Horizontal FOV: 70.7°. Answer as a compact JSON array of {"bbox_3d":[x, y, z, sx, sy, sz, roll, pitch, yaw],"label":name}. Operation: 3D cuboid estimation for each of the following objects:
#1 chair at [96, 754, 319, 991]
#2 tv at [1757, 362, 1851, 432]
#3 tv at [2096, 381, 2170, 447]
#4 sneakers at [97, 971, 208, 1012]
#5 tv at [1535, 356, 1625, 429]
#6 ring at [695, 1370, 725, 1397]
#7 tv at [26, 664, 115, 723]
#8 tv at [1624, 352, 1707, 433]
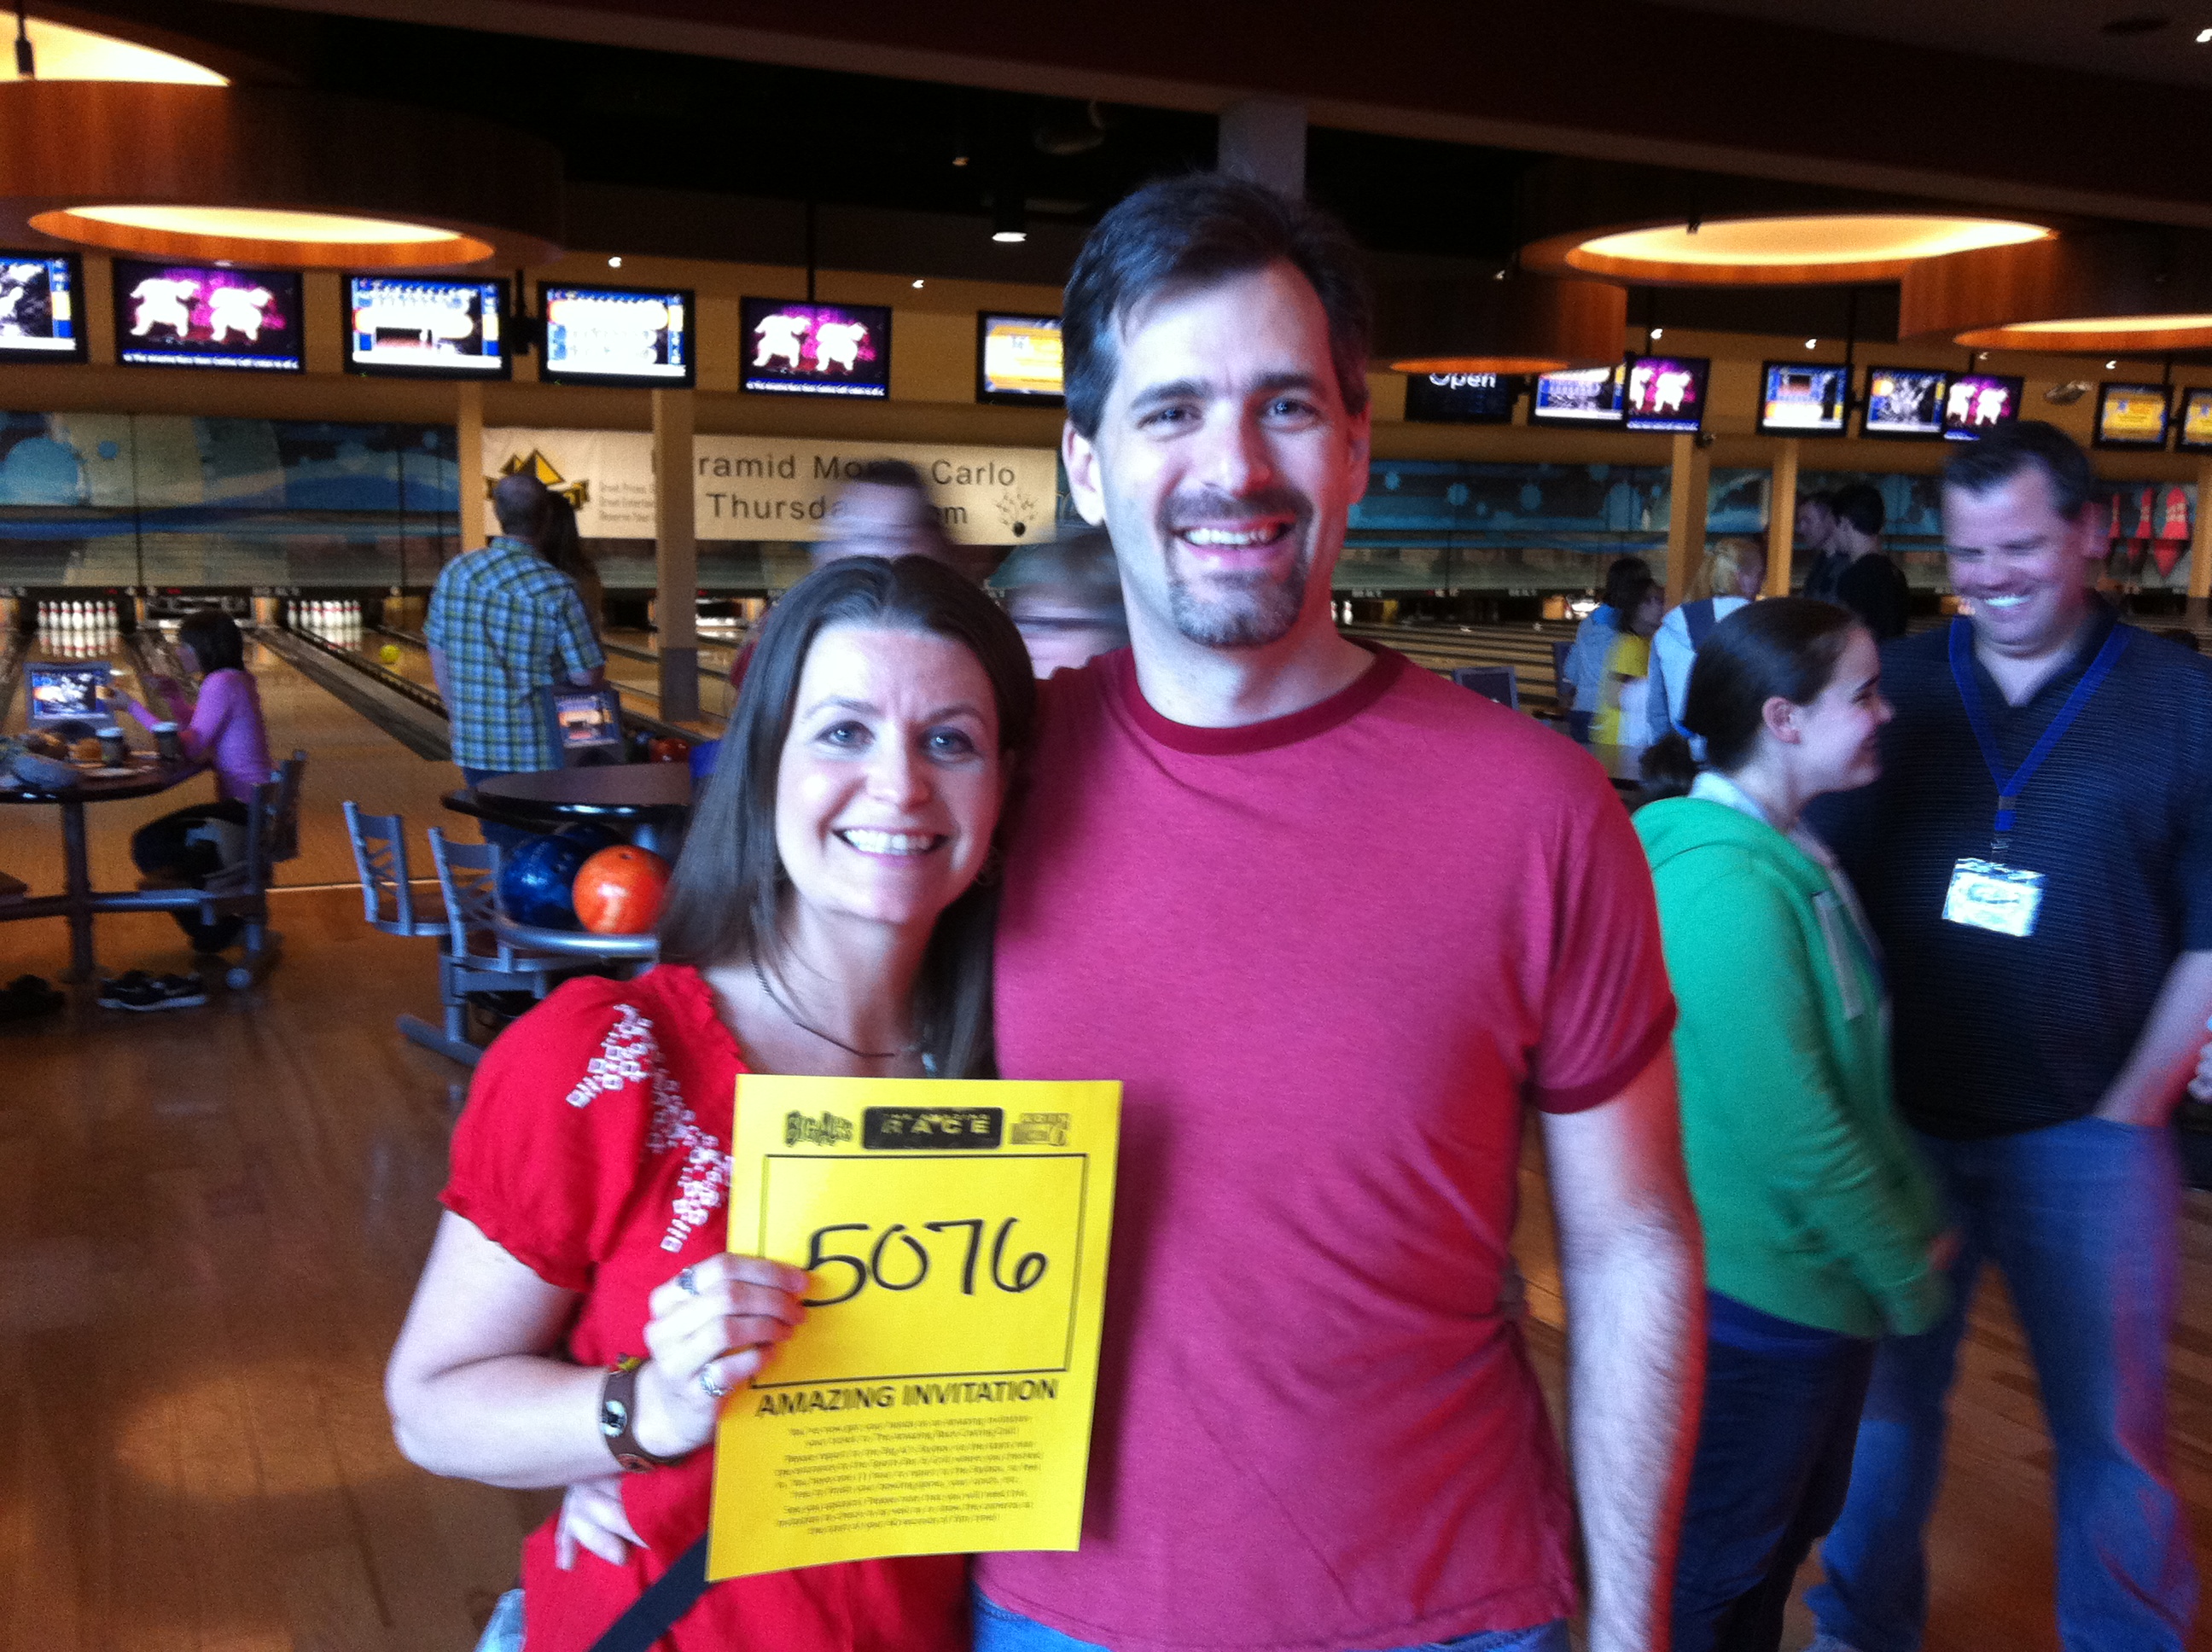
[{"bbox_3d":[-3.350,0.155,5.671,0.750,0.914,0.765,-2,6,-42],"label":"chair"},{"bbox_3d":[5.908,-3.624,13.204,0.709,0.509,0.097,2,4,3],"label":"tv"},{"bbox_3d":[9.566,-3.849,14.585,0.622,0.567,0.337,3,-6,5],"label":"tv"},{"bbox_3d":[-3.286,0.572,5.416,0.305,0.105,0.159,-1,6,-19],"label":"sneakers"},{"bbox_3d":[3.632,-3.354,11.972,0.844,0.586,0.113,0,-4,1],"label":"tv"},{"bbox_3d":[-0.283,0.402,1.129,0.017,0.018,0.018,-14,-10,-2],"label":"ring"},{"bbox_3d":[-4.309,-0.557,6.544,0.268,0.256,0.145,0,-31,-20],"label":"tv"},{"bbox_3d":[4.530,-3.527,12.672,0.871,0.732,0.122,-3,17,-12],"label":"tv"}]
